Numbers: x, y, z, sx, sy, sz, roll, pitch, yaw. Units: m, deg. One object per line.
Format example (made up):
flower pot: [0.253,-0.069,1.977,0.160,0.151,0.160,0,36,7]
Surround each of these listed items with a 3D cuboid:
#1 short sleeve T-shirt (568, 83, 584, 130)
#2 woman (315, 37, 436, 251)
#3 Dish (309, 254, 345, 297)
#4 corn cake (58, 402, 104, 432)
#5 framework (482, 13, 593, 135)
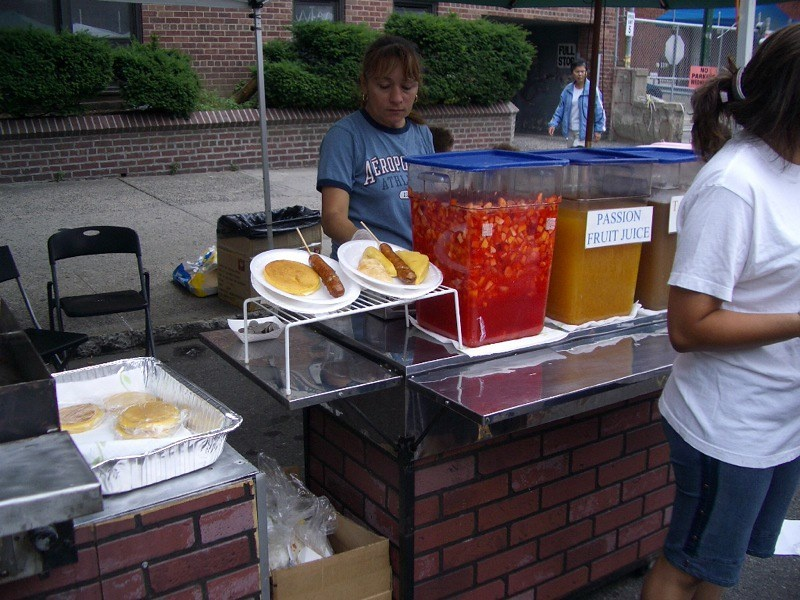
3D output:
short sleeve T-shirt: [3.572,-3.923,12.479,0.527,0.736,0.271,1,-2,33]
woman: [-0.110,-0.813,3.229,0.784,1.067,0.500,-10,23,-24]
Dish: [-0.272,-0.084,2.244,0.071,0.070,0.246,-16,37,-11]
corn cake: [-1.041,0.376,2.000,0.127,0.037,0.164,-12,24,-28]
framework: [5.596,-7.313,19.981,1.785,3.363,3.550,-16,23,-21]
